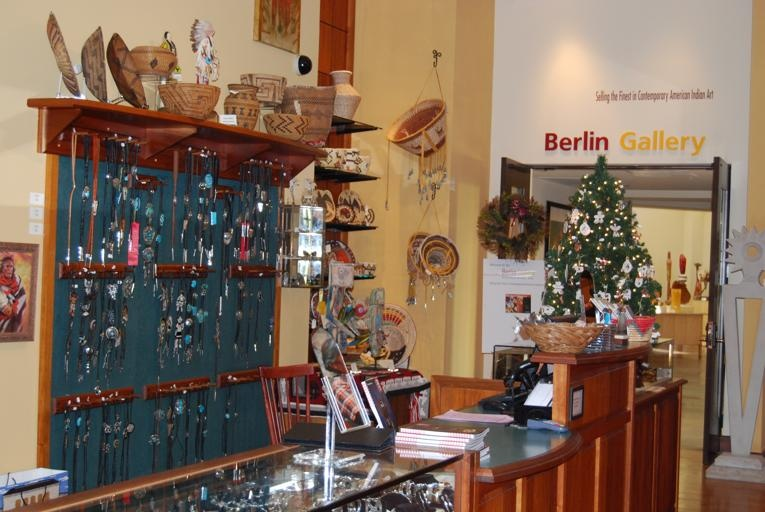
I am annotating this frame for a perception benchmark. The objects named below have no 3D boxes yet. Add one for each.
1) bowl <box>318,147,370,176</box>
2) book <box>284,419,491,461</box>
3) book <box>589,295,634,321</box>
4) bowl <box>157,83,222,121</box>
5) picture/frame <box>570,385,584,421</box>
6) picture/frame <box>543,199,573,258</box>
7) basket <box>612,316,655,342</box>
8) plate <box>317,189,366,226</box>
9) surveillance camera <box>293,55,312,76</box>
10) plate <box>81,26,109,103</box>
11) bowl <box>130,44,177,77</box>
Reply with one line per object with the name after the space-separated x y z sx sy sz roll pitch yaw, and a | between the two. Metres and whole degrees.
-0.457 -1.011 8.039 0.667 0.286 0.229 -5 15 -35 | bowl
0.133 0.981 3.958 0.458 0.120 0.448 -1 -3 30 | book
1.799 0.429 5.787 0.255 0.090 0.202 13 -7 6 | book
-1.383 -1.127 5.332 0.288 0.165 0.307 3 0 0 | bowl
1.214 0.920 4.648 0.027 0.272 0.229 2 2 33 | picture/frame
2.472 -0.436 10.604 0.250 0.747 1.206 7 13 19 | picture/frame
2.050 0.590 6.013 0.281 0.160 0.375 1 1 12 | basket
-0.456 -0.508 7.967 0.021 0.352 0.456 -16 -12 37 | plate
-0.765 -1.840 7.189 0.161 0.225 0.208 1 -1 17 | surveillance camera
-2.113 -1.405 5.435 0.171 0.511 0.383 -1 13 -20 | plate
-1.655 -1.400 5.347 0.227 0.154 0.241 0 6 0 | bowl
